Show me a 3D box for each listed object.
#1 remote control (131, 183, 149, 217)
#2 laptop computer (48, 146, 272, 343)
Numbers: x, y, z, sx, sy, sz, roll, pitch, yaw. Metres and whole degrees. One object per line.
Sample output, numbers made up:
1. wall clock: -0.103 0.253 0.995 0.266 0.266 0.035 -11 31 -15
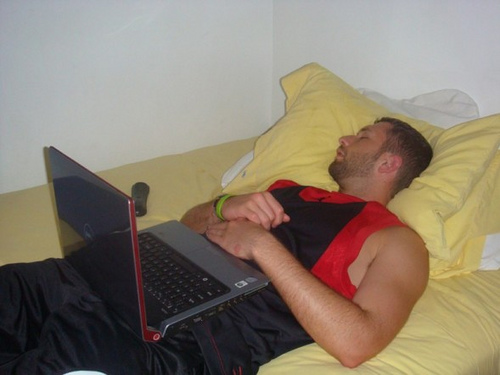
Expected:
1. remote control: -0.486 0.053 1.732 0.070 0.019 0.137 1 80 -2
2. laptop computer: -0.300 0.097 1.228 0.583 0.408 0.439 20 28 39
